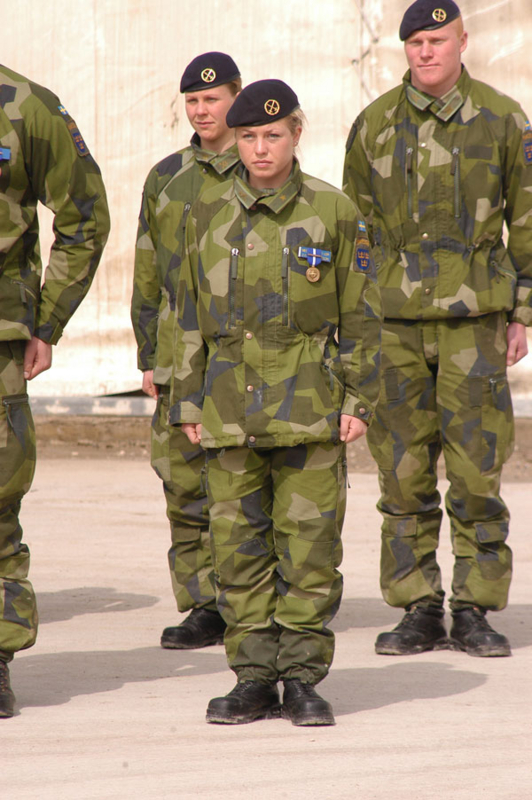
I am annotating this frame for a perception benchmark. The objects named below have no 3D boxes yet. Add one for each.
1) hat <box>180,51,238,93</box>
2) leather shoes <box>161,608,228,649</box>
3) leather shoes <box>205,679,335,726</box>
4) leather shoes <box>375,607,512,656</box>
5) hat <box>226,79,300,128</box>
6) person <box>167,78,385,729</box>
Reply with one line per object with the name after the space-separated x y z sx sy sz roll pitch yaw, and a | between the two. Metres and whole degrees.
-0.201 -1.190 3.713 0.163 0.091 0.200 -10 3 8 | hat
-0.250 0.836 3.665 0.123 0.127 0.318 -5 -9 29 | leather shoes
0.016 0.766 2.531 0.210 0.062 0.164 -3 -13 11 | leather shoes
0.620 0.818 3.527 0.454 0.155 0.259 -1 3 11 | leather shoes
0.012 -0.757 2.595 0.181 0.079 0.131 -7 -2 -43 | hat
0.000 0.002 2.618 0.571 1.651 0.379 -1 4 12 | person
